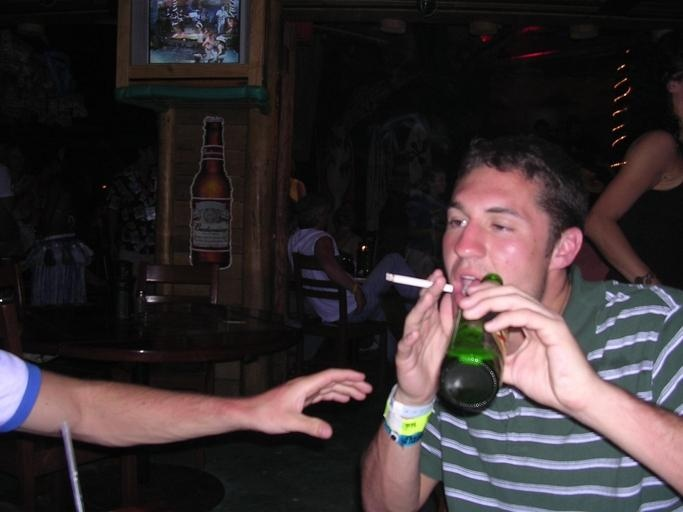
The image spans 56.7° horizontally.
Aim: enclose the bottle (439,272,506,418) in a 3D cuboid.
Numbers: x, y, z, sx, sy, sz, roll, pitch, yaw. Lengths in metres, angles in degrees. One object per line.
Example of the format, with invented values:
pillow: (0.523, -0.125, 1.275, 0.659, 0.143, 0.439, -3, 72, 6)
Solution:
bottle: (0.415, 0.333, 1.986, 0.174, 0.277, 0.245, 8, 9, 15)
